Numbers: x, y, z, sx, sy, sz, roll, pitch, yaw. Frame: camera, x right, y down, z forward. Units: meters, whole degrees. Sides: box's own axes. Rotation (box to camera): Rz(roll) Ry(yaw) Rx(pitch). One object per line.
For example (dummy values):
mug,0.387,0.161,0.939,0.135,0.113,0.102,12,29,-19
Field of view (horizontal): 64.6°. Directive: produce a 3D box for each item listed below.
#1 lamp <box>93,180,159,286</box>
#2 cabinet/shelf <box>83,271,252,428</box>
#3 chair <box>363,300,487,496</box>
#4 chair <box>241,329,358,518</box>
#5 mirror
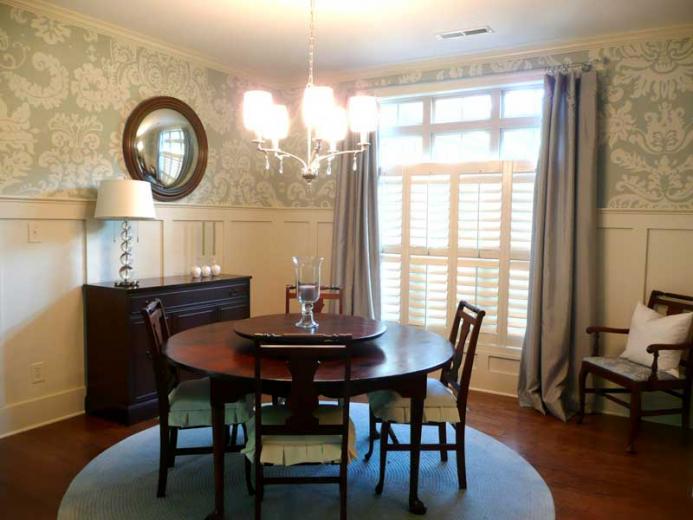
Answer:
lamp,-1.770,-0.213,4.363,0.430,0.857,0.570,-5,14,-25
cabinet/shelf,-1.480,0.676,4.722,0.484,1.100,1.229,10,9,35
chair,0.485,0.848,3.642,0.673,1.111,0.654,2,3,-1
chair,-0.273,0.916,3.124,0.634,1.174,0.485,0,12,-5
mirror,-1.610,-0.997,4.769,0.052,1.249,0.985,6,8,37
